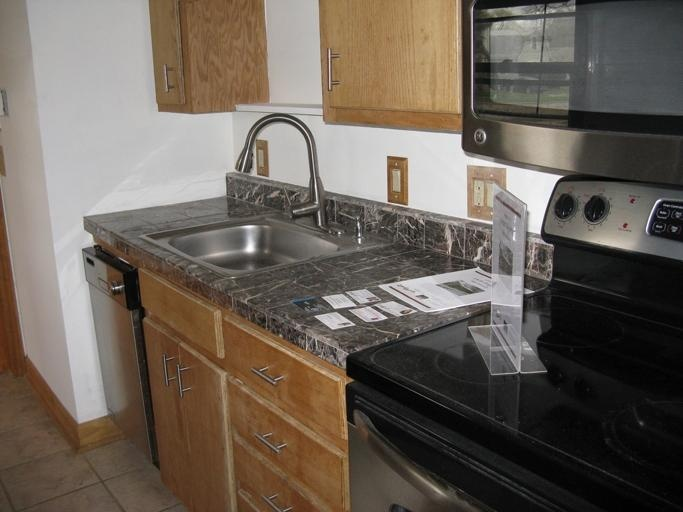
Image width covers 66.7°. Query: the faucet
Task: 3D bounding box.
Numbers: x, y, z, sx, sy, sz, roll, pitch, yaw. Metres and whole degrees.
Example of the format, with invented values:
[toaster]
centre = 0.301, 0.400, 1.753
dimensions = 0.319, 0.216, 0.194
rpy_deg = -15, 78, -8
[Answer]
[faucet]
centre = -0.222, -0.308, 1.926
dimensions = 0.342, 0.425, 0.181
rpy_deg = -3, 17, -11
